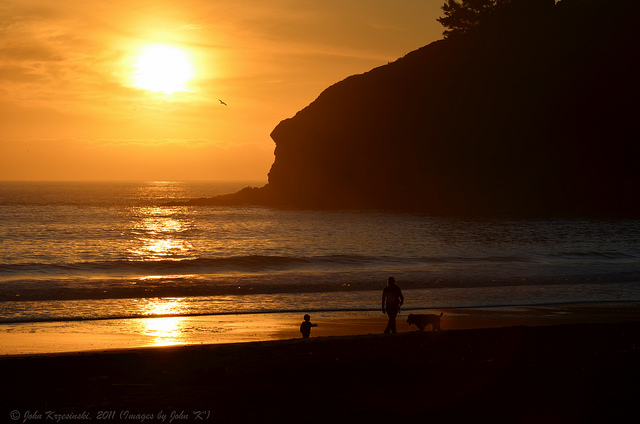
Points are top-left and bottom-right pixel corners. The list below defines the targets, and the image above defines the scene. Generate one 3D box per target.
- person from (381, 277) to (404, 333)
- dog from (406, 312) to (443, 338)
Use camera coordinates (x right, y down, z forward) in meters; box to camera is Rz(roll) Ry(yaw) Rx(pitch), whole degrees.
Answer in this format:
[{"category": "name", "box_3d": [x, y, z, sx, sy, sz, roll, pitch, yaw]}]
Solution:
[{"category": "person", "box_3d": [4.478, 5.751, 51.436, 1.199, 3.470, 1.356, 1, 1, 5]}, {"category": "dog", "box_3d": [6.538, 6.923, 51.861, 2.808, 1.243, 0.694, 0, 1, -22]}]
